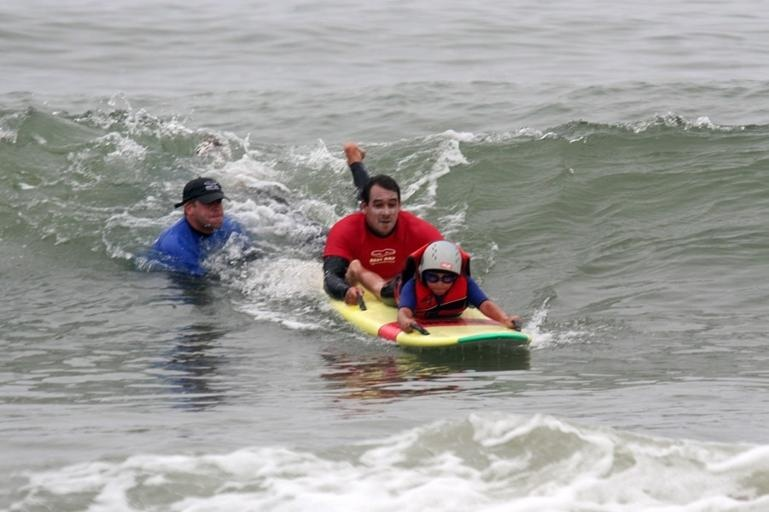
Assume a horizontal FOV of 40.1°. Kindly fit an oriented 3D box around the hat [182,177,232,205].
[{"bbox_3d":[-3.032,-1.108,17.739,0.529,0.266,0.690,0,-6,-44],"label":"hat"}]

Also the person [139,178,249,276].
[{"bbox_3d":[-3.201,-0.529,18.010,1.447,1.625,0.707,-1,9,-7],"label":"person"}]
